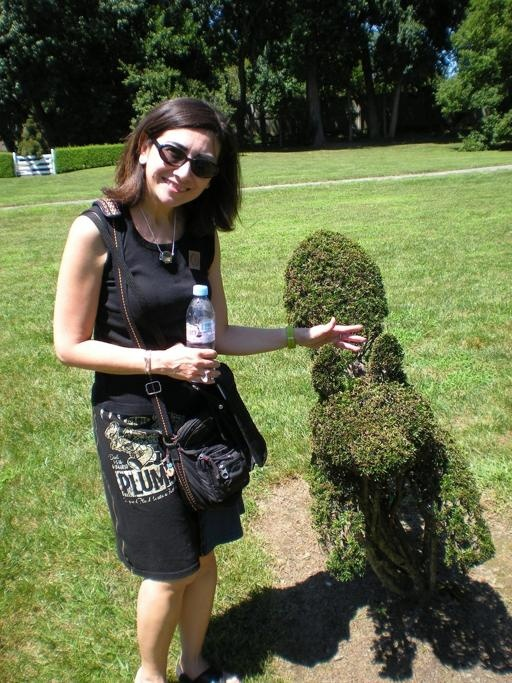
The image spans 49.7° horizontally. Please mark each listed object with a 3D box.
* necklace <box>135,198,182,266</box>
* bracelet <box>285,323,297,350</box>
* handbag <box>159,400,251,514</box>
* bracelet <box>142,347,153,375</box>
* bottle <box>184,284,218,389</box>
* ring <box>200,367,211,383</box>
[{"bbox_3d":[-0.296,-0.342,1.748,0.043,0.152,0.152,-28,-16,27],"label":"necklace"},{"bbox_3d":[0.134,-0.017,2.147,0.052,0.083,0.074,-1,-9,-3],"label":"bracelet"},{"bbox_3d":[-0.156,0.338,1.724,0.254,0.362,0.157,-12,19,-23],"label":"handbag"},{"bbox_3d":[-0.315,0.060,1.601,0.014,0.056,0.039,3,7,-33],"label":"bracelet"},{"bbox_3d":[-0.175,-0.063,1.672,0.093,0.194,0.173,-7,18,-7],"label":"bottle"},{"bbox_3d":[-0.146,0.100,1.632,0.029,0.040,0.013,-2,20,-26],"label":"ring"}]
